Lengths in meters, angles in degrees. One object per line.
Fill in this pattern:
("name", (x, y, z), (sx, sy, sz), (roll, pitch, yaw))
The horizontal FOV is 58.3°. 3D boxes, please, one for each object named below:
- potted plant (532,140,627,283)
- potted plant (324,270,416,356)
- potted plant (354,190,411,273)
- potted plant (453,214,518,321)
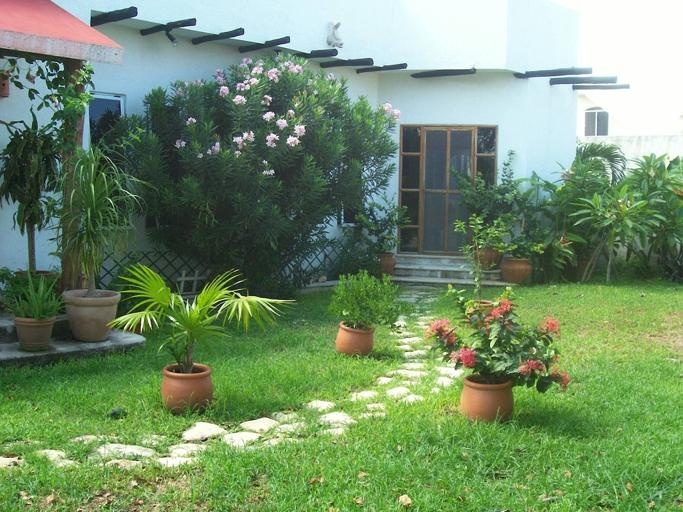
("potted plant", (5.181, -1.069, 13.476), (1.802, 2.809, 3.515), (5, 11, 25))
("potted plant", (0.363, 0.578, 8.022), (1.023, 1.373, 0.908), (3, 2, 10))
("potted plant", (0.871, -0.496, 13.198), (1.017, 1.731, 2.070), (2, 10, 10))
("potted plant", (2.577, 0.151, 10.771), (1.280, 2.335, 1.515), (1, -13, 15))
